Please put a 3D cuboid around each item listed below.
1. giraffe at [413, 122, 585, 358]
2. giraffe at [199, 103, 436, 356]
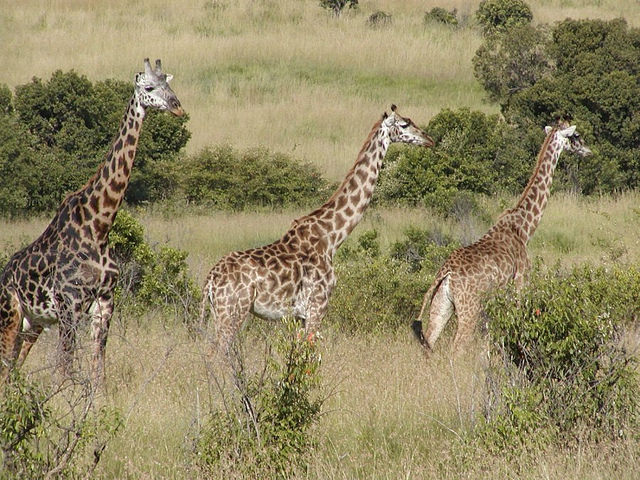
[{"bbox_3d":[3.283,-0.045,18.457,1.235,4.101,3.431,13,14,39],"label":"giraffe"},{"bbox_3d":[-0.286,-0.366,17.354,3.862,4.252,1.105,-4,14,-40],"label":"giraffe"}]
